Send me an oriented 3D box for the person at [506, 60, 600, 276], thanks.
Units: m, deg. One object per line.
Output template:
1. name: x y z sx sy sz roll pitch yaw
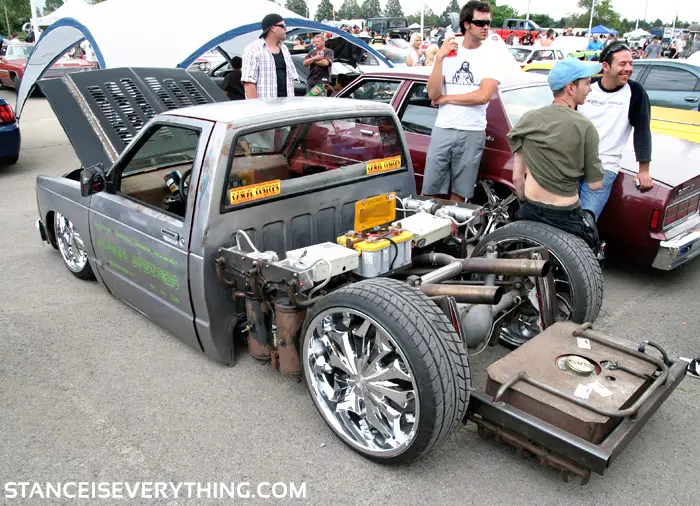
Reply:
1. person: 1.831 -0.592 4.139 0.796 2.116 0.764 15 42 30

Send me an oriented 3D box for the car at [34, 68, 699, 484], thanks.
1. car: -0.569 0.290 4.282 5.687 1.758 2.598 25 37 27

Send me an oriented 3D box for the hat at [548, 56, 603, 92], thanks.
1. hat: 1.903 -1.494 3.839 0.428 0.207 0.271 -22 32 16

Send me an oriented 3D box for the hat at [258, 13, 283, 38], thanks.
1. hat: -1.087 -3.169 6.429 0.338 0.303 0.233 -2 27 -3
